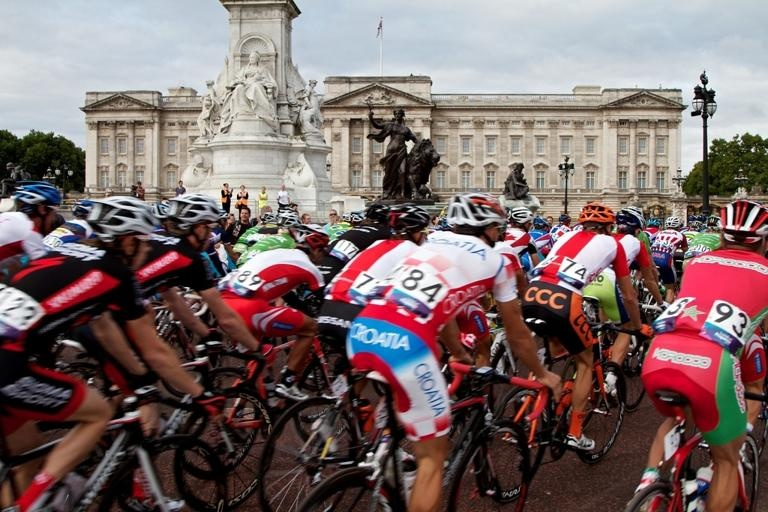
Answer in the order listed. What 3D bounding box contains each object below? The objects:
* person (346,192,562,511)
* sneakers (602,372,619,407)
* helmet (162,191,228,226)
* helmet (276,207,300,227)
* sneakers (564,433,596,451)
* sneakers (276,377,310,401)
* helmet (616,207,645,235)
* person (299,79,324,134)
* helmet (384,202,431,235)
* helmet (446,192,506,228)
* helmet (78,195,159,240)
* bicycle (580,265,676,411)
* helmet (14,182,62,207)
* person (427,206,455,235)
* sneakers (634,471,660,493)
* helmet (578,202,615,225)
[{"bbox_3d":[0.428,0.626,5.113,1.200,2.180,0.745,-1,7,-39],"label":"person"},{"bbox_3d":[2.334,1.370,7.227,0.215,0.220,0.258,-9,17,9],"label":"sneakers"},{"bbox_3d":[-1.769,-0.432,6.538,0.434,0.350,0.322,3,-10,9],"label":"helmet"},{"bbox_3d":[-1.422,-0.552,10.304,0.361,0.158,0.459,3,9,-4],"label":"helmet"},{"bbox_3d":[1.914,1.766,6.591,0.414,0.176,0.135,6,-6,-29],"label":"sneakers"},{"bbox_3d":[-0.880,1.255,6.534,0.420,0.168,0.156,10,-4,-21],"label":"sneakers"},{"bbox_3d":[3.627,-0.535,10.361,0.350,0.386,0.455,13,16,37],"label":"helmet"},{"bbox_3d":[-3.273,-6.488,30.924,0.957,2.437,1.591,3,5,2],"label":"person"},{"bbox_3d":[0.261,-0.408,7.196,0.405,0.281,0.358,8,-10,-24],"label":"helmet"},{"bbox_3d":[0.748,-0.343,5.473,0.388,0.262,0.289,16,-14,-34],"label":"helmet"},{"bbox_3d":[-1.859,-0.248,5.005,0.481,0.410,0.437,3,16,-24],"label":"helmet"},{"bbox_3d":[2.591,0.916,8.279,1.236,1.154,1.976,-4,-16,35],"label":"bicycle"},{"bbox_3d":[-3.662,-0.655,7.364,0.400,0.177,0.277,1,2,4],"label":"helmet"},{"bbox_3d":[0.981,-0.642,12.282,0.582,0.536,1.191,-3,1,9],"label":"person"},{"bbox_3d":[1.798,1.549,4.775,0.122,0.124,0.247,5,5,26],"label":"sneakers"},{"bbox_3d":[2.290,-0.461,7.424,0.265,0.169,0.354,7,15,38],"label":"helmet"}]
